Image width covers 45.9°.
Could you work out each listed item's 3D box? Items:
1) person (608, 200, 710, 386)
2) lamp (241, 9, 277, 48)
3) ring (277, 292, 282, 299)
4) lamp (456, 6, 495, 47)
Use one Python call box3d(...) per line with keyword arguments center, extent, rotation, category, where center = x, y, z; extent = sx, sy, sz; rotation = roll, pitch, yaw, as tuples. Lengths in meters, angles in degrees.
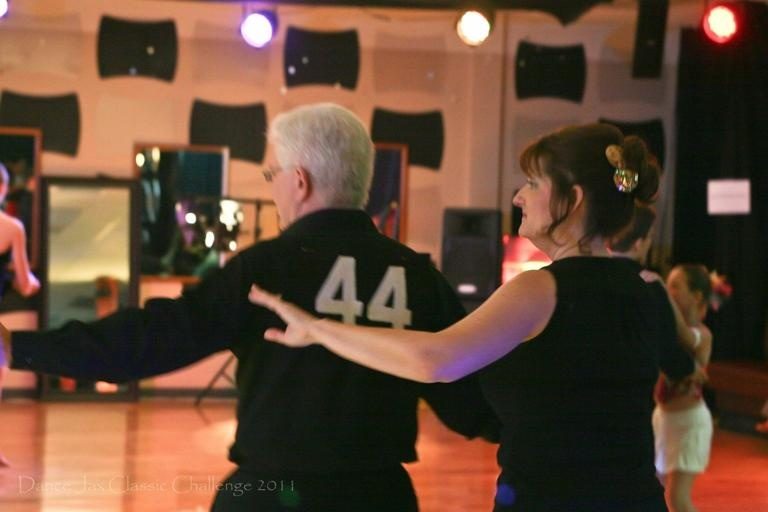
box3d(center=(1.540, 0.201, 5.119), extent=(0.415, 1.235, 0.393), rotation=(-21, 23, -11), category="person")
box3d(center=(-0.971, -1.792, 7.158), extent=(0.282, 0.266, 0.178), rotation=(-11, 16, 4), category="lamp")
box3d(center=(-0.547, 0.211, 4.777), extent=(0.009, 0.036, 0.025), rotation=(-45, 11, 37), category="ring")
box3d(center=(0.707, -1.765, 6.988), extent=(0.243, 0.250, 0.258), rotation=(-4, 3, 12), category="lamp")
